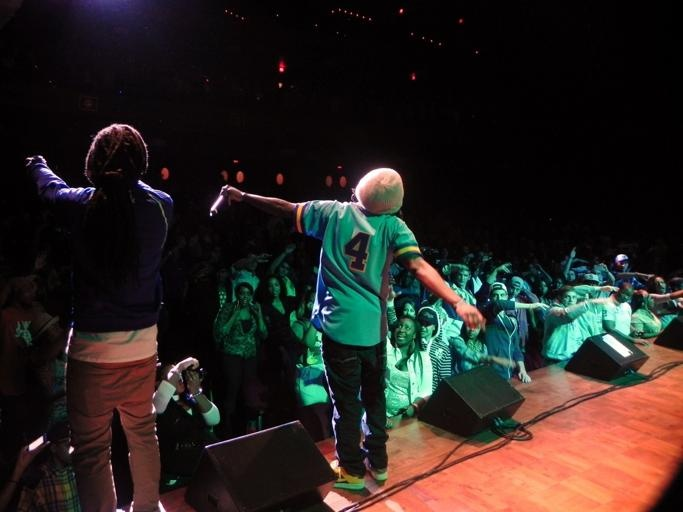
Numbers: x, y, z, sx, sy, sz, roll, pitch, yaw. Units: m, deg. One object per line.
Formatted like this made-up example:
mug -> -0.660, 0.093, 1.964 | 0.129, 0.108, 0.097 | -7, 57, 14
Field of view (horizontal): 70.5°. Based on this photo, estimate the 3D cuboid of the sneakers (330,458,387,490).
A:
sneakers -> 0.096, 1.476, 3.222 | 0.189, 0.128, 0.327 | -4, 7, -44

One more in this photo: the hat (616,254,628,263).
hat -> 4.638, 0.044, 8.051 | 0.187, 0.153, 0.268 | -1, -7, 8

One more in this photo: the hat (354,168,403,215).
hat -> 0.257, -0.399, 3.363 | 0.236, 0.272, 0.336 | 26, -8, 3

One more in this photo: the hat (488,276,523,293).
hat -> 2.034, 0.352, 5.992 | 0.413, 0.241, 0.281 | 2, -1, 10

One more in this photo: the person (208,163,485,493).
person -> 0.129, 0.479, 3.238 | 1.337, 2.086, 0.451 | 4, 9, 19

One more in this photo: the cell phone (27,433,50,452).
cell phone -> -1.853, 1.146, 2.983 | 0.071, 0.032, 0.129 | 10, 23, 27
